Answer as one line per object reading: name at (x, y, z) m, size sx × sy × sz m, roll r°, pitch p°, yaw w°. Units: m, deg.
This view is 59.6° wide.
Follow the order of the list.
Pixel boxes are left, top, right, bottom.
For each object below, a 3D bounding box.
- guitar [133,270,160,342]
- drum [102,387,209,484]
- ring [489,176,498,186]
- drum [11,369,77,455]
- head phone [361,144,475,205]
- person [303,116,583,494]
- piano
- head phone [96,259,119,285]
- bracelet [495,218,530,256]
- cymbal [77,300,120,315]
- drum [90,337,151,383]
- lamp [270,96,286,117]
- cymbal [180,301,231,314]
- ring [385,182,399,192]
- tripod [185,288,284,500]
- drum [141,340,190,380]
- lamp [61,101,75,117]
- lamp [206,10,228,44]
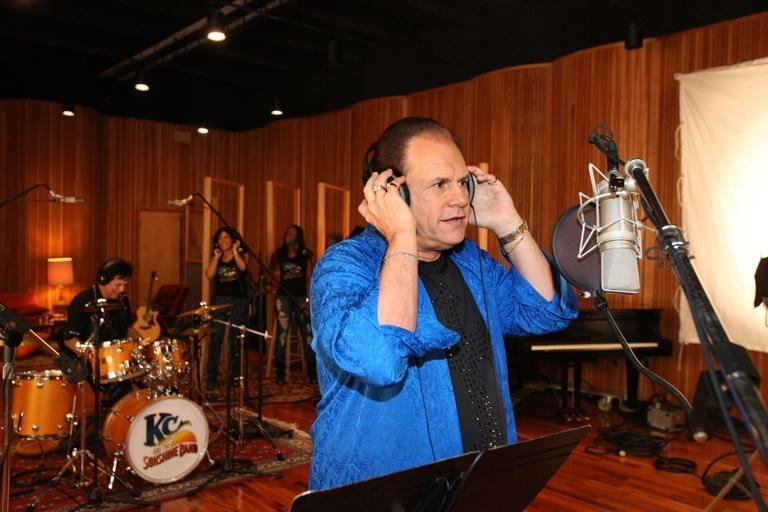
guitar at (-3.166, 0.659, 9.008) m, size 0.334 × 0.975 × 0.108 m, roll 5°, pitch 23°, yaw -26°
drum at (-2.113, 1.670, 6.275) m, size 0.641 × 0.847 × 0.864 m, roll 3°, pitch 6°, yaw 39°
ring at (0.666, -0.462, 4.048) m, size 0.017 × 0.054 × 0.040 m, roll -11°, pitch -33°, yaw -40°
drum at (-3.122, 1.360, 6.159) m, size 0.470 × 0.569 × 0.515 m, roll -1°, pitch -7°, yaw 15°
head phone at (0.190, -0.463, 3.818) m, size 0.319 × 0.306 × 0.130 m, roll 1°, pitch -31°, yaw -14°
person at (0.248, 0.232, 3.883) m, size 1.414 × 1.573 × 0.561 m, roll -4°, pitch 2°, yaw -30°
piano at (2.485, 1.168, 7.848) m, size 1.457 × 1.099 × 1.050 m, roll -4°, pitch -2°, yaw 16°
head phone at (-2.947, 0.172, 7.157) m, size 0.106 × 0.276 × 0.290 m, roll 9°, pitch 3°, yaw 13°
bracelet at (0.780, -0.127, 4.071) m, size 0.162 × 0.085 × 0.191 m, roll -8°, pitch -16°, yaw -33°
cymbal at (-2.593, 0.464, 6.155) m, size 0.253 × 0.103 × 0.270 m, roll -1°, pitch -5°, yaw 1°
drum at (-2.444, 0.998, 6.217) m, size 0.417 × 0.334 × 0.428 m, roll -13°, pitch -7°, yaw -2°
lamp at (-1.845, -2.594, 11.571) m, size 0.210 × 0.257 × 0.240 m, roll -3°, pitch -24°, yaw 3°
cymbal at (-2.204, 0.628, 8.240) m, size 0.434 × 0.125 × 0.465 m, roll 0°, pitch 7°, yaw 30°
ring at (0.043, -0.399, 3.768) m, size 0.050 × 0.055 × 0.021 m, roll -5°, pitch -12°, yaw 11°
tripod at (-1.544, 1.355, 6.986) m, size 0.985 × 1.733 × 1.026 m, roll -2°, pitch -9°, yaw 24°
drum at (-2.075, 1.010, 6.406) m, size 0.326 × 0.284 × 0.364 m, roll -3°, pitch -16°, yaw -6°
lamp at (-5.271, -2.489, 11.204) m, size 0.210 × 0.213 × 0.211 m, roll 3°, pitch -30°, yaw -31°
lamp at (-1.947, -2.685, 7.730) m, size 0.196 × 0.331 × 0.303 m, roll -3°, pitch 1°, yaw -16°
